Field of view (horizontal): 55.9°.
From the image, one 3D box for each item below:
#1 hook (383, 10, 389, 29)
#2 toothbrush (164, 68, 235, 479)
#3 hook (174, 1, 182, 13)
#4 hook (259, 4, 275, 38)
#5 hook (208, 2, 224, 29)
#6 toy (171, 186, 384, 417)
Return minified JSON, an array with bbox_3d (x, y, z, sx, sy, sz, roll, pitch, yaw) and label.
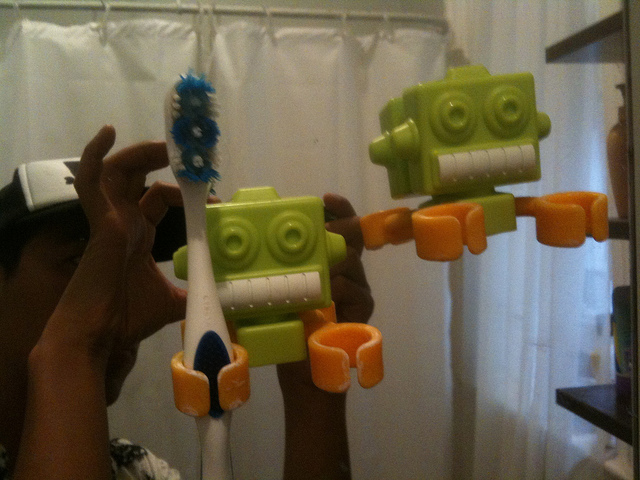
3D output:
[{"bbox_3d":[0.143,-0.471,1.292,0.006,0.026,0.018,2,20,34],"label":"hook"},{"bbox_3d":[-0.146,0.033,0.891,0.079,0.653,0.104,-5,4,-11],"label":"toothbrush"},{"bbox_3d":[-0.283,-0.463,1.204,0.007,0.020,0.015,3,-8,-22],"label":"hook"},{"bbox_3d":[-0.106,-0.450,1.248,0.014,0.039,0.051,-9,-23,5],"label":"hook"},{"bbox_3d":[-0.214,-0.457,1.238,0.013,0.043,0.041,17,43,40],"label":"hook"},{"bbox_3d":[-0.072,0.022,0.881,0.264,0.366,0.231,1,12,-10],"label":"toy"}]
